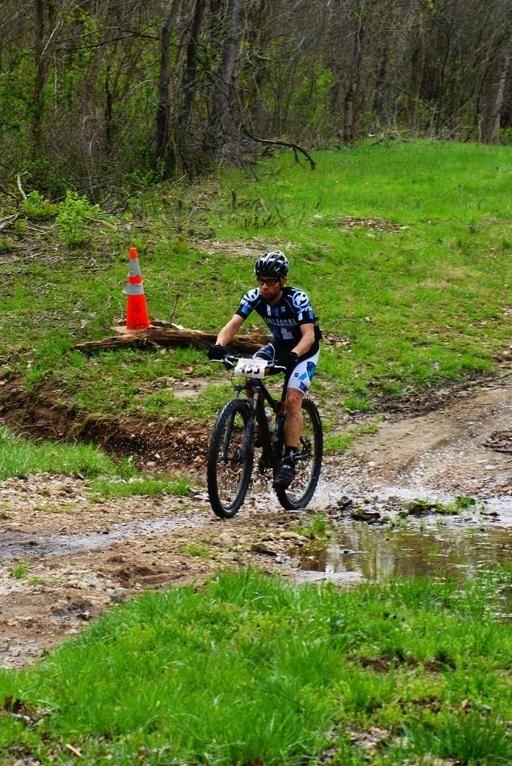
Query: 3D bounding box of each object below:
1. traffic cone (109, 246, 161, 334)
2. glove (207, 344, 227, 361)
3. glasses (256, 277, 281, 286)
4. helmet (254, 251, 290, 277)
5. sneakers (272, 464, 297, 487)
[{"bbox_3d":[-1.608,-1.206,11.378,0.457,1.078,0.938,1,6,-8],"label":"traffic cone"},{"bbox_3d":[-0.314,-0.239,6.768,0.141,0.123,0.094,-6,12,-17],"label":"glove"},{"bbox_3d":[0.093,-0.802,6.915,0.192,0.065,0.155,2,6,7],"label":"glasses"},{"bbox_3d":[0.116,-0.945,6.855,0.186,0.132,0.252,4,8,15],"label":"helmet"},{"bbox_3d":[0.215,0.755,7.094,0.163,0.197,0.184,2,6,1],"label":"sneakers"}]
